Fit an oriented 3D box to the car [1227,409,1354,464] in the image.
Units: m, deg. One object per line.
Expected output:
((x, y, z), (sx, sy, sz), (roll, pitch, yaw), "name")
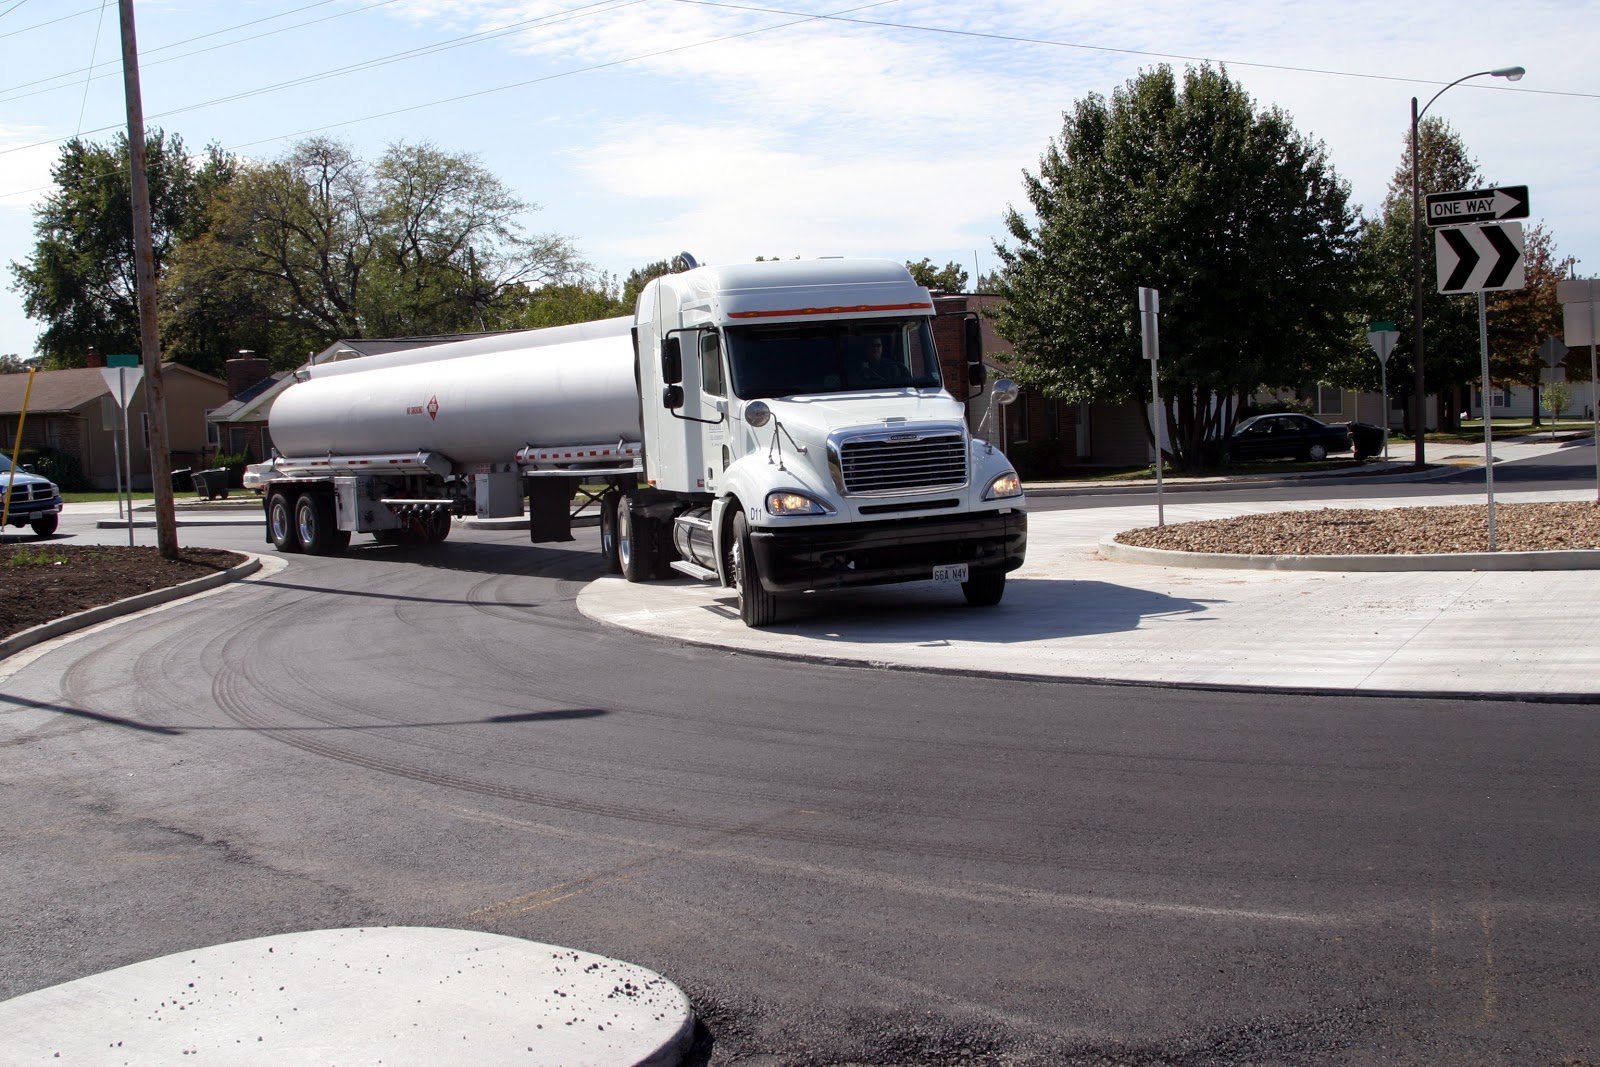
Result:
((16.885, -3.196, 46.116), (4.200, 1.475, 1.910), (1, 5, 4), "car")
